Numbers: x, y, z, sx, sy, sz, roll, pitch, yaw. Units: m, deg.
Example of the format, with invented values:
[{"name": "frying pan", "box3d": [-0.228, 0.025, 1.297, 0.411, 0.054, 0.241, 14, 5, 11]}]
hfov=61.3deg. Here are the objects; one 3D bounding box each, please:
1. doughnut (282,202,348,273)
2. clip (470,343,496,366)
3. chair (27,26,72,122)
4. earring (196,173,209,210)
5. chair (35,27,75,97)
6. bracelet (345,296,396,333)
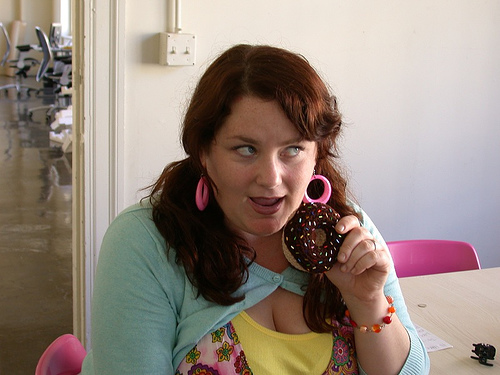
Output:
[{"name": "doughnut", "box3d": [0.163, 0.125, 1.057, 0.163, 0.163, 0.085, 2, 7, 3]}, {"name": "clip", "box3d": [0.748, 0.532, 1.362, 0.072, 0.051, 0.066, 9, 11, 44]}, {"name": "chair", "box3d": [-3.916, -2.287, 8.686, 0.944, 1.749, 1.044, -4, 12, -41]}, {"name": "earring", "box3d": [-0.127, 0.016, 1.127, 0.033, 0.091, 0.029, 1, 7, 3]}, {"name": "chair", "box3d": [-3.840, -2.430, 8.565, 0.930, 1.473, 1.050, -5, 19, -42]}, {"name": "bracelet", "box3d": [0.352, 0.345, 1.161, 0.179, 0.072, 0.084, -2, 8, -23]}]
